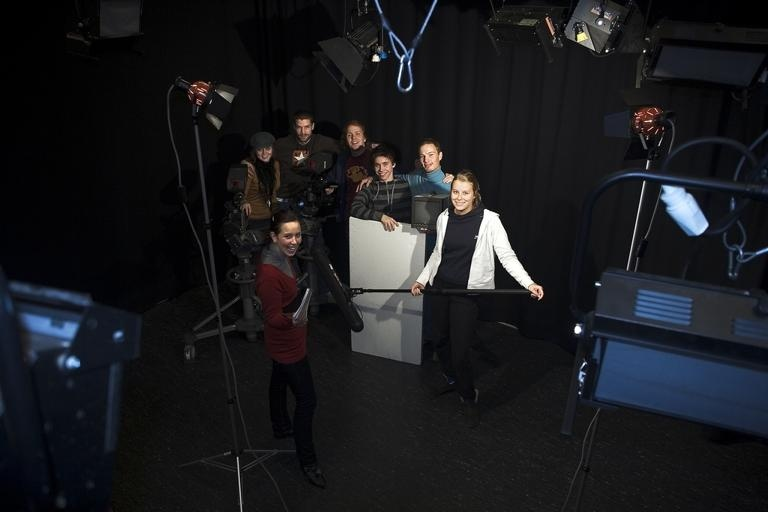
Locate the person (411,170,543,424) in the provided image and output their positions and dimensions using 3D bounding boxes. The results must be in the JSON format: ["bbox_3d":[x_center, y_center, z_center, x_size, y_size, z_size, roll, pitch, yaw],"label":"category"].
[{"bbox_3d":[0.668,0.277,4.402,0.874,1.875,0.566,9,18,16],"label":"person"}]

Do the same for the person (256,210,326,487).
[{"bbox_3d":[-0.624,0.641,3.633,0.454,1.849,0.763,-1,18,-14],"label":"person"}]
